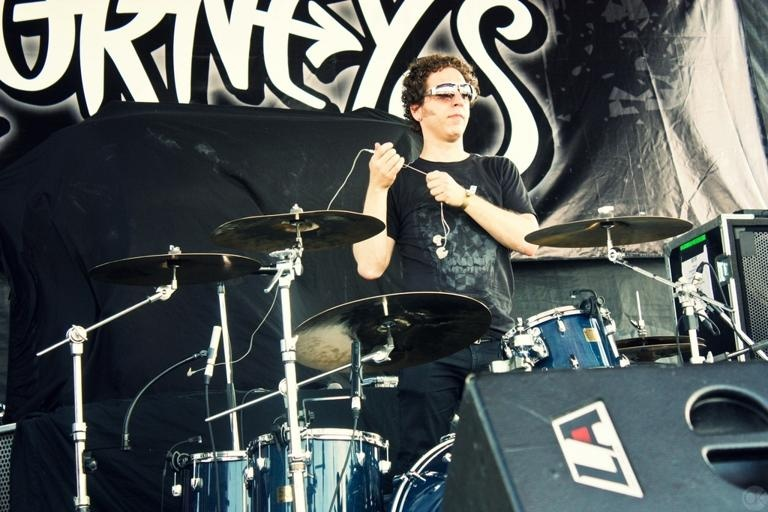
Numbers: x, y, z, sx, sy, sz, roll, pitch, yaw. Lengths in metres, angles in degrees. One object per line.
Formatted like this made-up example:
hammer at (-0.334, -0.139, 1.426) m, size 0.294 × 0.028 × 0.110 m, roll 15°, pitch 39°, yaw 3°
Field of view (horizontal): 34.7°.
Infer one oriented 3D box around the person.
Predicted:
person at (0.344, 0.328, 7.122) m, size 1.080 × 2.914 × 0.778 m, roll 2°, pitch -7°, yaw -17°

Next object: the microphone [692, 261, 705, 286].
microphone at (1.943, 0.102, 7.602) m, size 0.087 × 0.155 × 0.047 m, roll 18°, pitch -41°, yaw 3°

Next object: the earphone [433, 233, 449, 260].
earphone at (0.321, -0.059, 7.042) m, size 0.086 × 0.132 × 0.033 m, roll -1°, pitch -12°, yaw -7°

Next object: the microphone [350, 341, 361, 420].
microphone at (-0.150, 0.654, 6.564) m, size 0.066 × 0.385 × 0.080 m, roll -2°, pitch -22°, yaw 1°

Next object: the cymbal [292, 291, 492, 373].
cymbal at (0.038, 0.422, 6.709) m, size 1.093 × 0.259 × 0.671 m, roll -8°, pitch -19°, yaw 4°

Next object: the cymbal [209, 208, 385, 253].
cymbal at (-0.479, -0.127, 6.909) m, size 0.967 × 0.146 × 0.433 m, roll -5°, pitch -19°, yaw -5°

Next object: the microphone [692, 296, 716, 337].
microphone at (1.875, 0.339, 7.213) m, size 0.061 × 0.226 × 0.167 m, roll -34°, pitch -39°, yaw 5°

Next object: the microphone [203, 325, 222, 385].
microphone at (-1.059, 0.618, 7.594) m, size 0.079 × 0.394 × 0.068 m, roll -1°, pitch -22°, yaw 24°

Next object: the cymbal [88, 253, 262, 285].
cymbal at (-1.220, 0.017, 7.315) m, size 0.879 × 0.271 × 0.581 m, roll 0°, pitch 1°, yaw -29°
